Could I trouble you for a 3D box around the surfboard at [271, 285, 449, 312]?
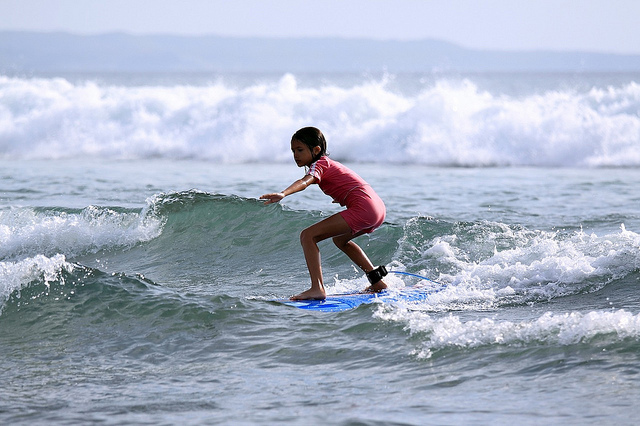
[{"bbox_3d":[0.656,1.375,16.512,2.979,0.239,0.820,-2,6,-24],"label":"surfboard"}]
